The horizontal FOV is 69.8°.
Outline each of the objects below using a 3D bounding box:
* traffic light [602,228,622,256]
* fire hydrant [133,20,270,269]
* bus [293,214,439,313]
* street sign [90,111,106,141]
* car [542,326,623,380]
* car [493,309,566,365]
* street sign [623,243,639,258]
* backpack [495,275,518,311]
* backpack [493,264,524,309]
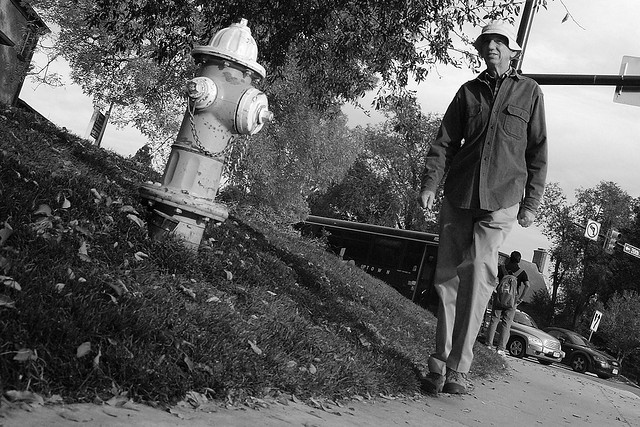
[{"bbox_3d":[15.816,1.415,25.053,0.768,0.338,1.262,8,-52,21],"label":"traffic light"},{"bbox_3d":[-1.138,-0.771,4.683,1.050,2.518,0.520,13,-5,-16],"label":"fire hydrant"},{"bbox_3d":[2.925,2.782,26.080,2.997,3.583,11.678,21,-9,-39],"label":"bus"},{"bbox_3d":[-7.441,-2.880,15.332,0.321,1.056,1.361,14,-4,-27],"label":"street sign"},{"bbox_3d":[12.860,6.842,22.100,2.070,1.544,4.000,20,-12,-40],"label":"car"},{"bbox_3d":[8.698,5.571,21.239,2.161,2.413,4.984,19,-14,-20],"label":"car"},{"bbox_3d":[16.878,1.981,24.791,0.872,0.220,0.579,18,-48,9],"label":"street sign"},{"bbox_3d":[4.911,1.952,11.992,0.475,0.869,0.456,12,27,28],"label":"backpack"},{"bbox_3d":[4.883,1.935,11.906,0.498,0.752,0.469,12,-4,9],"label":"backpack"}]
